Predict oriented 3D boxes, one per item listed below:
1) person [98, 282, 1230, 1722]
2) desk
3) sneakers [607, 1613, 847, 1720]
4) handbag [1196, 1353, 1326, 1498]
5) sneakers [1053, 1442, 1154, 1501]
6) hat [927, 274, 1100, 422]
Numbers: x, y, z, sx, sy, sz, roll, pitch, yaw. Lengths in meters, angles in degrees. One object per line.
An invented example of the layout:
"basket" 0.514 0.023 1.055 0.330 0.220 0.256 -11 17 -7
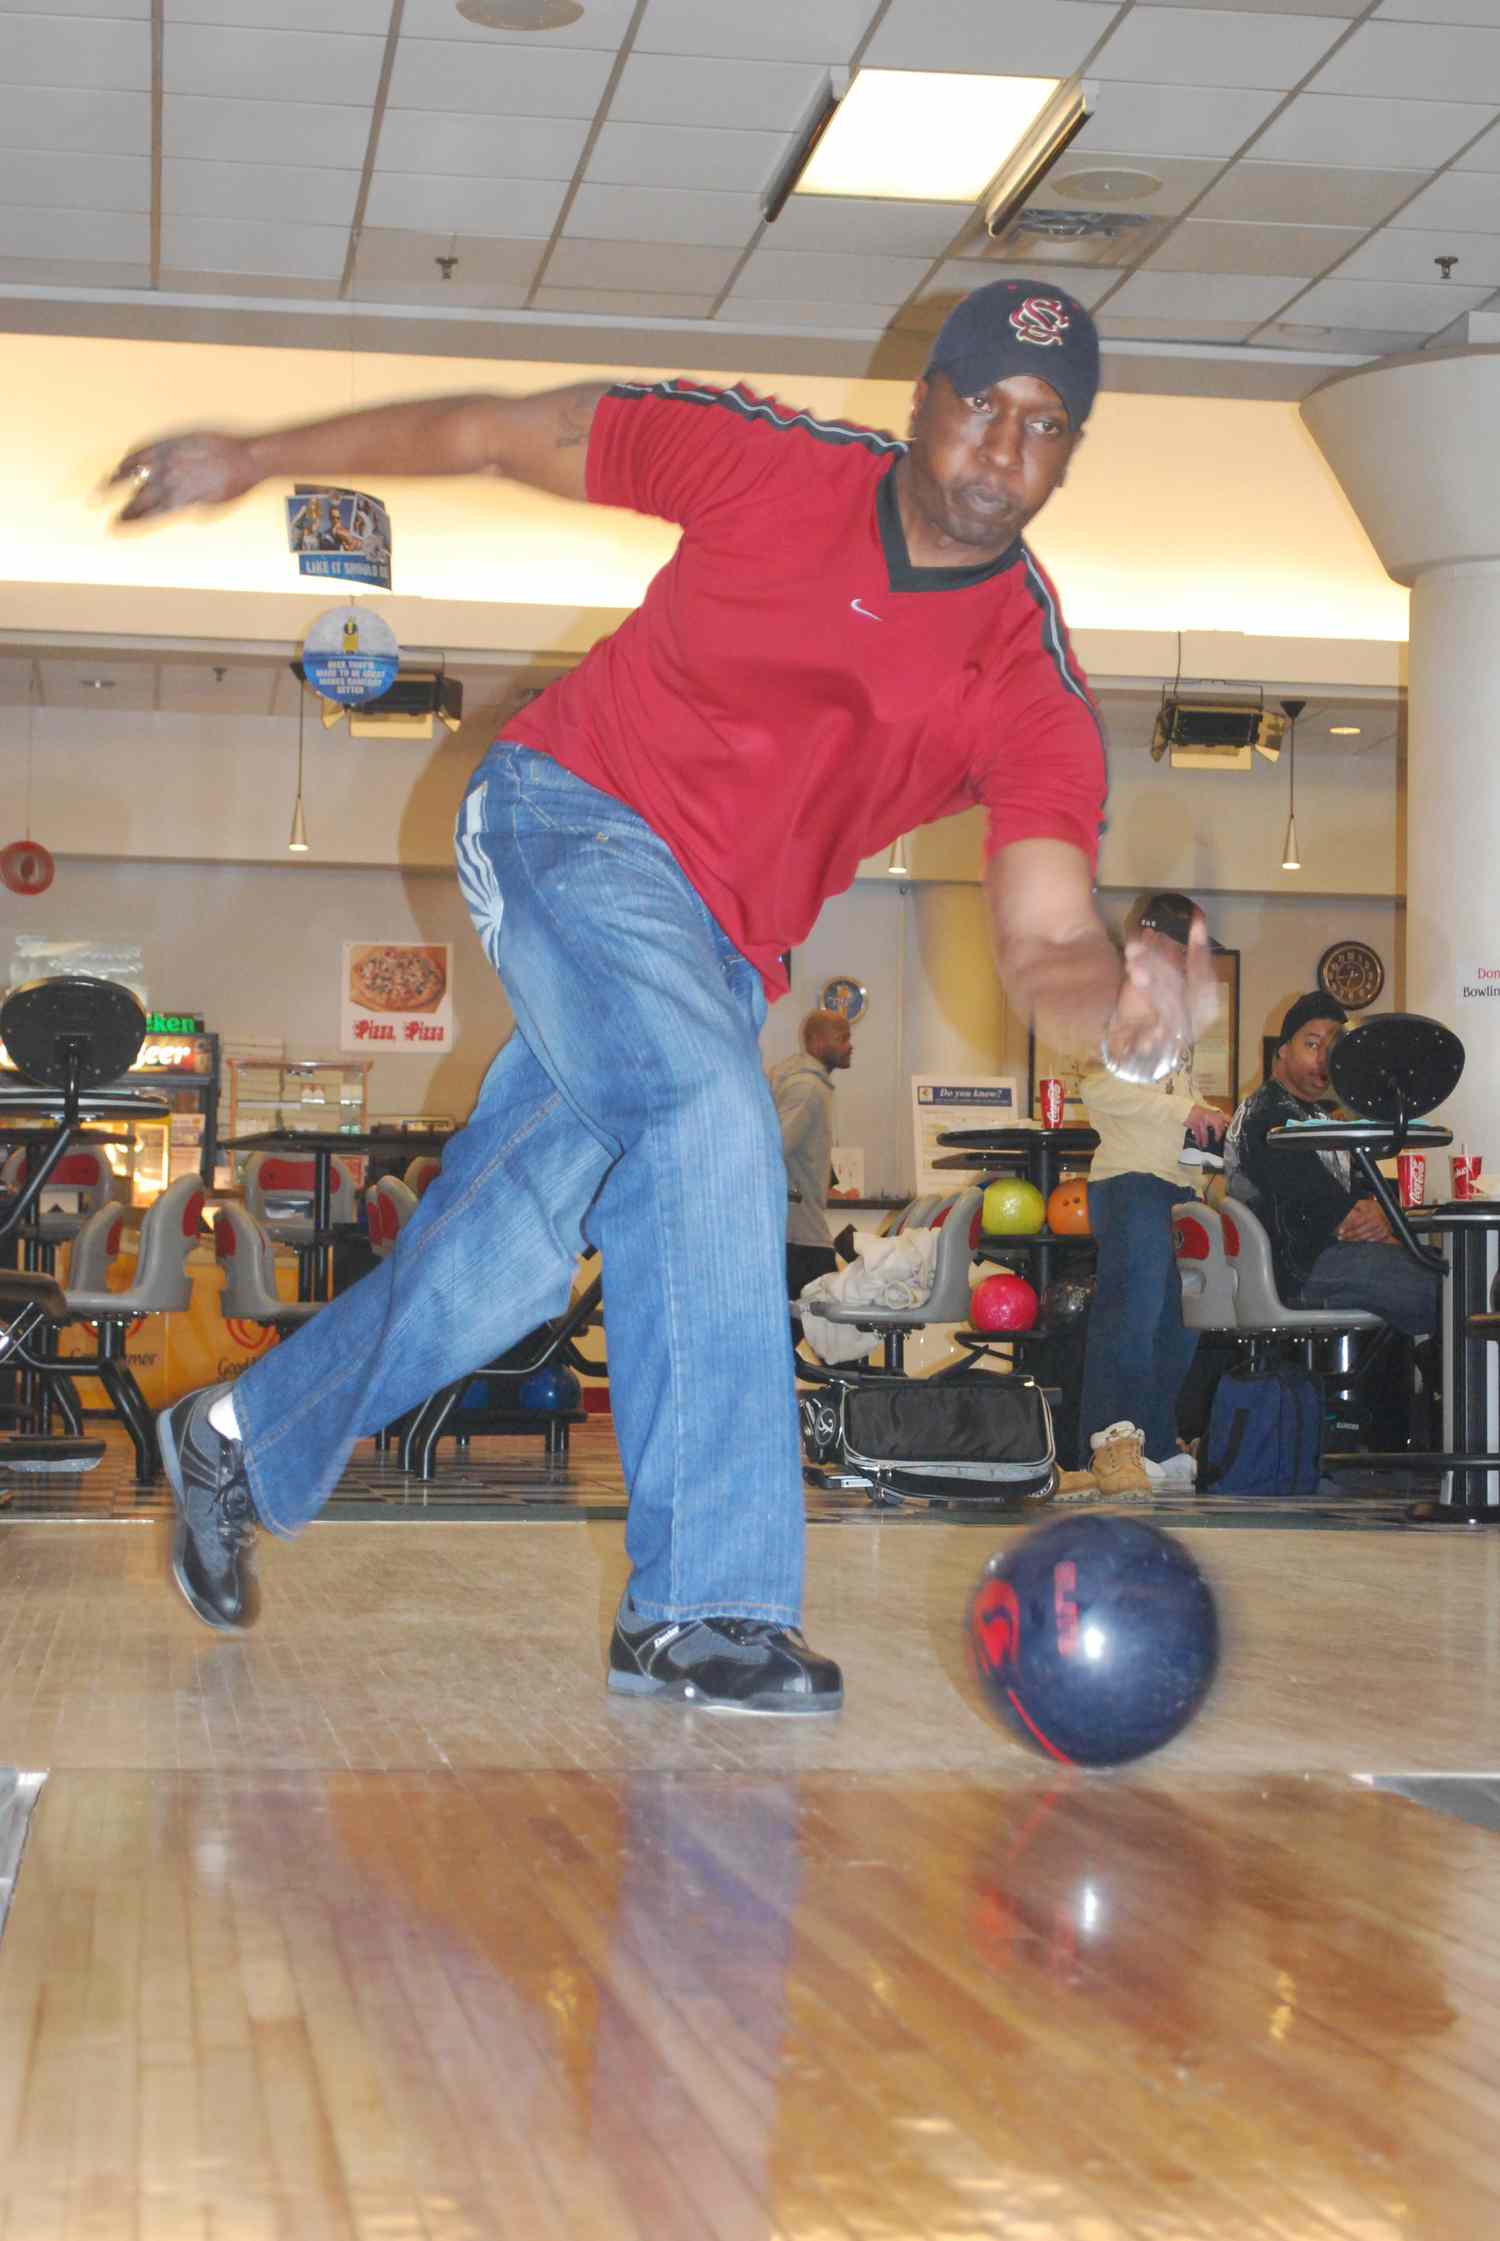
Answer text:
"person" -0.133 -0.128 1.845 0.984 1.370 0.351 -1 -11 13
"desk" -1.784 0.315 8.219 1.119 1.017 1.089 2 -6 -22
"sneakers" -0.025 0.492 1.650 0.215 0.087 0.078 -3 -10 32
"handbag" 1.640 1.097 5.675 0.321 0.561 0.408 -3 -44 15
"sneakers" 1.022 1.006 5.151 0.152 0.113 0.262 1 -13 -2
"hat" 0.253 -0.759 1.777 0.123 0.088 0.164 16 24 -16
